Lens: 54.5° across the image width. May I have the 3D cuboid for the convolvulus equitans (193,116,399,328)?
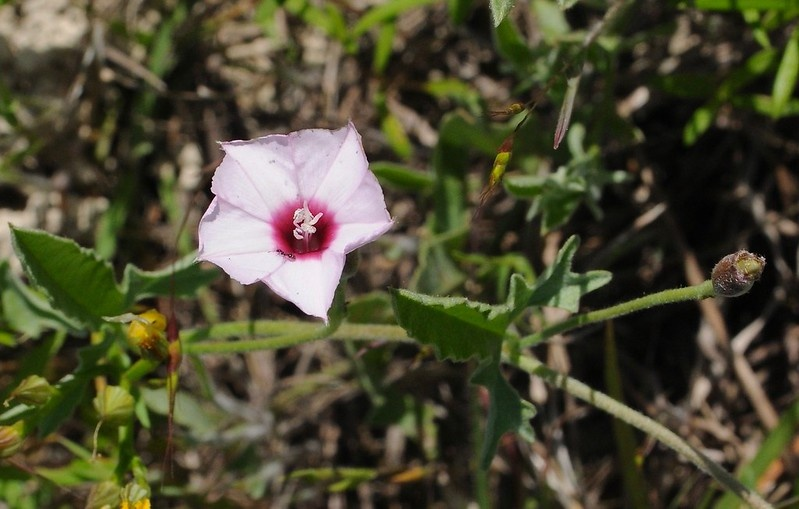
[{"bbox_3d":[-0.469,-0.184,4.009,1.119,0.470,0.954,15,-27,-35],"label":"convolvulus equitans"}]

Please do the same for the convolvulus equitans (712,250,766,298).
[{"bbox_3d":[1.523,0.084,3.530,0.257,0.157,0.101,-32,-47,17],"label":"convolvulus equitans"}]
